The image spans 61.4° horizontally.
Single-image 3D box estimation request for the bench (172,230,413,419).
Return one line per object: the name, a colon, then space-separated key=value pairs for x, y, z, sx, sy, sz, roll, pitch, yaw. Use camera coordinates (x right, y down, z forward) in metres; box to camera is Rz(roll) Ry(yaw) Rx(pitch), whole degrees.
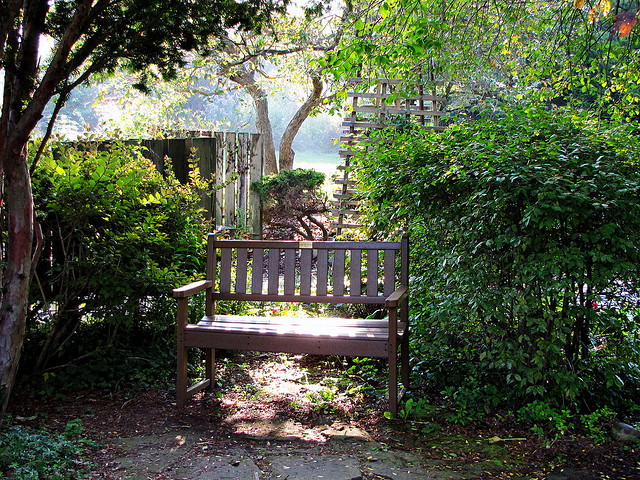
bench: x=-0.257 y=0.781 z=4.762 sx=1.421 sy=1.132 sz=0.575 roll=0 pitch=-3 yaw=11
